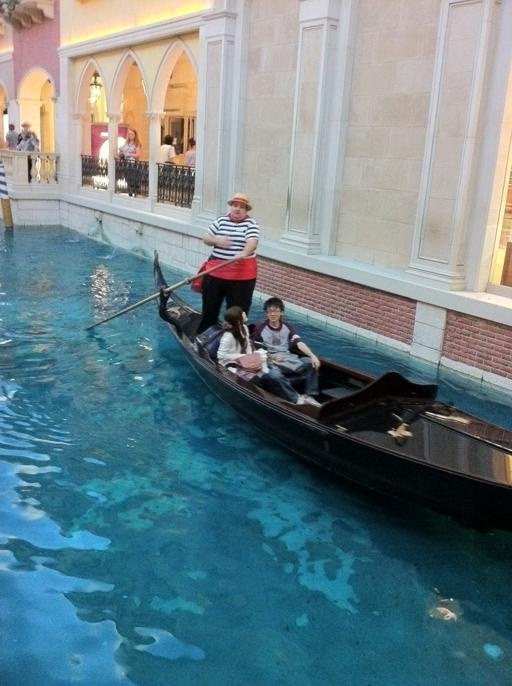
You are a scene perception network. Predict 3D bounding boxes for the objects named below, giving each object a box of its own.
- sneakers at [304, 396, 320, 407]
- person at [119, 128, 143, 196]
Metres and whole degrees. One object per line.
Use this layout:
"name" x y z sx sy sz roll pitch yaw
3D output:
"sneakers" 0.445 0.446 3.940 0.070 0.036 0.113 2 14 -19
"person" -3.149 -4.604 13.053 0.413 1.720 1.148 -3 13 -29
